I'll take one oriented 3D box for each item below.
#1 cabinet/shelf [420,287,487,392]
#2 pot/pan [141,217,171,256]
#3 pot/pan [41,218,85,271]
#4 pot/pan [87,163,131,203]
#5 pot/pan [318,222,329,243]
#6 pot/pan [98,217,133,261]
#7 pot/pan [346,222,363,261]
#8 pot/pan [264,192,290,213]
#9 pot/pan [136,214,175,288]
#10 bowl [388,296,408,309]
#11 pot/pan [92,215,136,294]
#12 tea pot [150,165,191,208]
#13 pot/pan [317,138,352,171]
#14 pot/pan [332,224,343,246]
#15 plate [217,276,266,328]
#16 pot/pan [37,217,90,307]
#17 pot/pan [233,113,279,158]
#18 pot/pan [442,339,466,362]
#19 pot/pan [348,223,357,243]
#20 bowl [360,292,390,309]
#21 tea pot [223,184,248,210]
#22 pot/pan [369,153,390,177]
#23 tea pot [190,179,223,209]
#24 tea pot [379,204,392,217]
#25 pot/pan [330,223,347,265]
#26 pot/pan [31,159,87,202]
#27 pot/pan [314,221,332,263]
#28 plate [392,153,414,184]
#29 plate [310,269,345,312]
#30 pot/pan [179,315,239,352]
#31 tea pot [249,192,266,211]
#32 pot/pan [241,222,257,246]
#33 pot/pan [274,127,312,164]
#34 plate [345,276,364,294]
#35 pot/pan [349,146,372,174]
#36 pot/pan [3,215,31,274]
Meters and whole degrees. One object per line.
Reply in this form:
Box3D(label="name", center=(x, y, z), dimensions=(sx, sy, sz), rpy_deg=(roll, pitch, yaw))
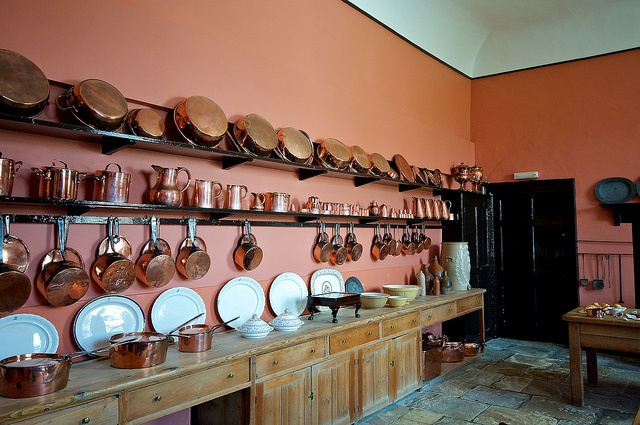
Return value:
Box3D(label="cabinet/shelf", center=(1.626, 1.504, 5.885), dimensions=(1.295, 0.845, 0.442), rpy_deg=(-6, 4, -34))
Box3D(label="pot/pan", center=(-1.382, 0.205, 3.773), dimensions=(0.050, 0.334, 0.198), rpy_deg=(-2, 1, 30))
Box3D(label="pot/pan", center=(-1.968, 0.246, 3.423), dimensions=(0.241, 0.405, 0.056), rpy_deg=(0, -5, -44))
Box3D(label="pot/pan", center=(-1.636, -0.228, 3.479), dimensions=(0.249, 0.293, 0.262), rpy_deg=(5, -7, -35))
Box3D(label="pot/pan", center=(0.046, 0.229, 4.907), dimensions=(0.132, 0.187, 0.041), rpy_deg=(-1, -2, -34))
Box3D(label="pot/pan", center=(-1.650, 0.216, 3.623), dimensions=(0.063, 0.332, 0.210), rpy_deg=(-3, 0, 37))
Box3D(label="pot/pan", center=(0.383, 0.332, 5.172), dimensions=(0.122, 0.430, 0.187), rpy_deg=(-9, -7, 41))
Box3D(label="pot/pan", center=(-0.426, -0.112, 4.360), dimensions=(0.210, 0.162, 0.163), rpy_deg=(0, -3, -6))
Box3D(label="pot/pan", center=(-1.370, 0.306, 3.710), dimensions=(0.318, 0.583, 0.168), rpy_deg=(-2, 0, -44))
Box3D(label="bowl", center=(0.871, 0.991, 5.012), dimensions=(0.212, 0.133, 0.253), rpy_deg=(-6, -12, 5))
Box3D(label="pot/pan", center=(-1.629, 0.324, 3.560), dimensions=(0.329, 0.626, 0.213), rpy_deg=(1, -10, -33))
Box3D(label="tea pot", center=(-1.317, -0.219, 3.754), dimensions=(0.382, 0.374, 0.250), rpy_deg=(5, -9, -36))
Box3D(label="pot/pan", center=(0.170, -0.667, 4.949), dimensions=(0.473, 0.399, 0.174), rpy_deg=(7, -17, -45))
Box3D(label="pot/pan", center=(0.204, 0.258, 5.037), dimensions=(0.138, 0.222, 0.030), rpy_deg=(0, -2, -34))
Box3D(label="plate", center=(-0.727, 0.845, 4.235), dimensions=(0.531, 0.466, 0.105), rpy_deg=(6, -16, -41))
Box3D(label="pot/pan", center=(-1.956, 0.368, 3.405), dimensions=(0.347, 0.657, 0.181), rpy_deg=(2, -14, -28))
Box3D(label="pot/pan", center=(-0.606, -0.744, 4.276), dimensions=(0.422, 0.439, 0.167), rpy_deg=(4, -15, -36))
Box3D(label="pot/pan", center=(1.734, 1.775, 5.798), dimensions=(0.245, 0.184, 0.237), rpy_deg=(3, -5, -38))
Box3D(label="pot/pan", center=(0.369, 0.235, 5.159), dimensions=(0.122, 0.197, 0.027), rpy_deg=(1, 0, -40))
Box3D(label="bowl", center=(0.571, 0.951, 4.888), dimensions=(0.229, 0.104, 0.222), rpy_deg=(0, -5, 0))
Box3D(label="tea pot", center=(-0.748, -0.139, 4.122), dimensions=(0.150, 0.248, 0.246), rpy_deg=(-12, -21, 42))
Box3D(label="pot/pan", center=(0.735, -0.593, 5.489), dimensions=(0.339, 0.324, 0.142), rpy_deg=(6, -16, -42))
Box3D(label="tea pot", center=(-0.977, -0.168, 3.961), dimensions=(0.168, 0.255, 0.281), rpy_deg=(-4, -12, 43))
Box3D(label="tea pot", center=(0.824, -0.026, 5.449), dimensions=(0.180, 0.184, 0.101), rpy_deg=(8, -13, -35))
Box3D(label="pot/pan", center=(0.207, 0.350, 5.010), dimensions=(0.118, 0.415, 0.230), rpy_deg=(-8, -6, 40))
Box3D(label="pot/pan", center=(-1.952, -0.177, 3.313), dimensions=(0.371, 0.269, 0.230), rpy_deg=(5, -8, -38))
Box3D(label="pot/pan", center=(0.028, 0.327, 4.880), dimensions=(0.225, 0.405, 0.136), rpy_deg=(1, -3, -44))
Box3D(label="plate", center=(1.134, -0.587, 5.933), dimensions=(0.162, 0.408, 0.400), rpy_deg=(-15, -16, 40))
Box3D(label="plate", center=(0.081, 0.844, 4.890), dimensions=(0.347, 0.442, 0.057), rpy_deg=(3, -9, -41))
Box3D(label="pot/pan", center=(-0.972, 0.989, 3.665), dimensions=(0.304, 0.131, 0.217), rpy_deg=(2, -5, -35))
Box3D(label="tea pot", center=(-0.579, -0.111, 4.253), dimensions=(0.122, 0.177, 0.177), rpy_deg=(-9, -10, 42))
Box3D(label="pot/pan", center=(-0.661, 0.193, 4.247), dimensions=(0.138, 0.204, 0.046), rpy_deg=(1, -4, -31))
Box3D(label="pot/pan", center=(-0.273, -0.701, 4.588), dimensions=(0.484, 0.414, 0.140), rpy_deg=(5, -16, -40))
Box3D(label="plate", center=(0.386, 0.827, 5.185), dimensions=(0.051, 0.192, 0.330), rpy_deg=(-13, -14, 34))
Box3D(label="pot/pan", center=(0.454, -0.635, 5.211), dimensions=(0.161, 0.391, 0.313), rpy_deg=(-12, -14, 29))
Box3D(label="pot/pan", center=(-2.202, 0.247, 3.246), dimensions=(0.056, 0.356, 0.223), rpy_deg=(-8, 0, 33))
